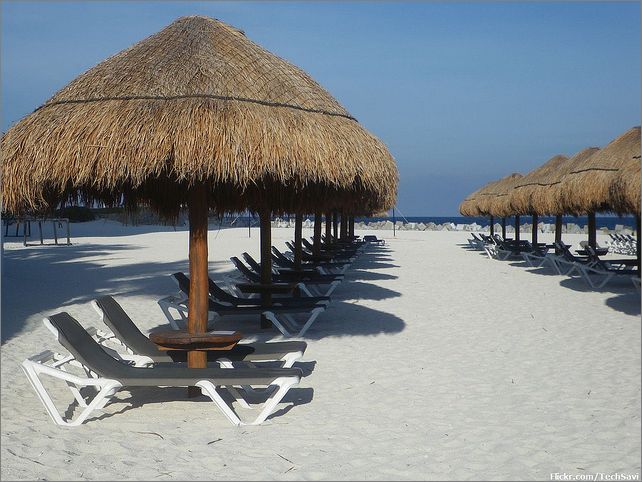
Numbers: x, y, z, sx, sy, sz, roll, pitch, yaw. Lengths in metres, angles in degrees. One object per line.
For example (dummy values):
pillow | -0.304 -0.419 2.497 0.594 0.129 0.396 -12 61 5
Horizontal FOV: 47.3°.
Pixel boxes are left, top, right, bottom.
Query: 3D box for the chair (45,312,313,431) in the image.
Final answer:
chair | -1.349 1.202 7.076 2.785 1.070 0.939 1 0 -2

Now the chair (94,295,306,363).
chair | -1.200 0.962 7.560 2.059 0.664 0.847 1 -3 -1

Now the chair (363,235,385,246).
chair | 1.862 -0.010 24.955 0.740 0.307 0.423 -1 1 5
